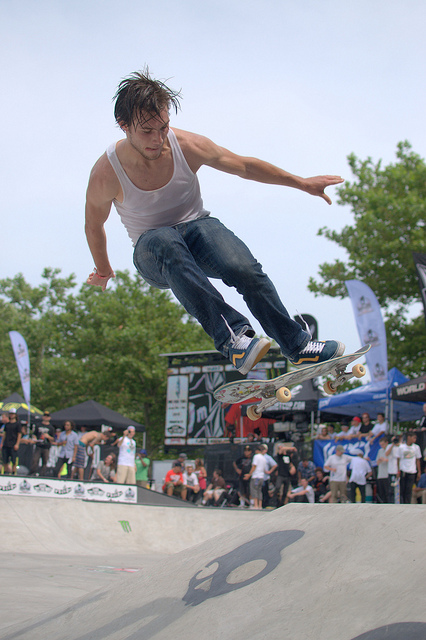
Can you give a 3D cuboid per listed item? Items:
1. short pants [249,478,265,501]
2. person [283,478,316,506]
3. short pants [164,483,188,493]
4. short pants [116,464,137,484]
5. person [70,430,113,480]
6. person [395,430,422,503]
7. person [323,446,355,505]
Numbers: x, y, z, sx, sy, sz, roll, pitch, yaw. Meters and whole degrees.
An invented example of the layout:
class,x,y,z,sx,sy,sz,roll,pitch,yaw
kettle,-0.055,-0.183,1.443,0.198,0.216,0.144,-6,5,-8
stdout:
class,x,y,z,sx,sy,sz,roll,pitch,yaw
short pants,0.666,2.483,14.477,0.205,0.313,0.278,0,-8,0
person,1.266,2.480,14.280,0.461,0.346,0.935,-1,-8,5
short pants,-0.558,2.564,15.061,0.318,0.131,0.123,-2,-9,10
short pants,-1.232,2.179,13.939,0.204,0.365,0.122,20,-55,-31
person,-1.901,2.082,15.289,0.366,0.736,1.081,-1,-8,8
person,2.369,1.761,11.835,0.266,0.825,0.388,-1,-9,2
person,1.780,2.117,13.552,0.360,0.755,0.610,1,-9,-9
